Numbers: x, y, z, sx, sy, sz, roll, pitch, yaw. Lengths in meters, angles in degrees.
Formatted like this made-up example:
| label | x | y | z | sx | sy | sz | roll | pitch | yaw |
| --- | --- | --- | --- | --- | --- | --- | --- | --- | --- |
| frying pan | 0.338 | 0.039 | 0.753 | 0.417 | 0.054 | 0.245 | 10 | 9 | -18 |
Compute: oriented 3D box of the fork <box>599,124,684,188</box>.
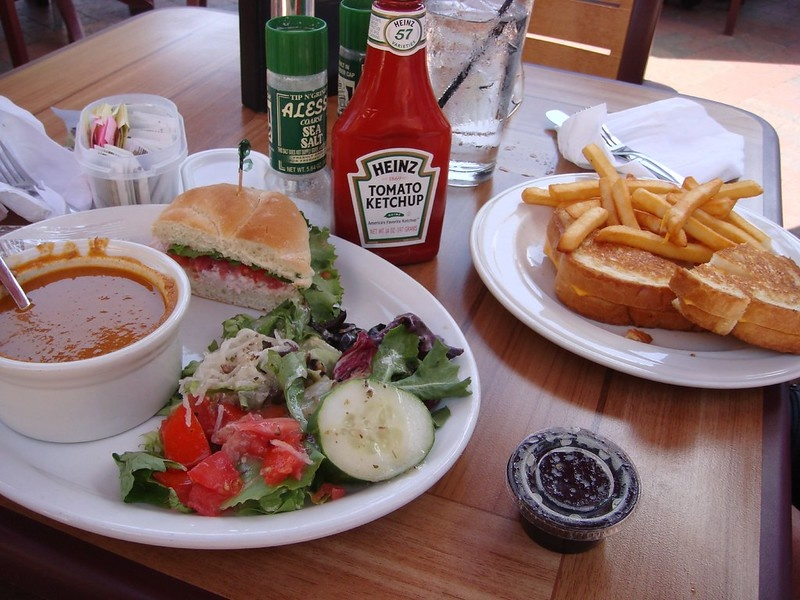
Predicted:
| label | x | y | z | sx | sy | sz | roll | pitch | yaw |
| --- | --- | --- | --- | --- | --- | --- | --- | --- | --- |
| fork | 0.953 | -0.559 | 2.418 | 0.073 | 0.067 | 0.505 | -17 | 50 | -24 |

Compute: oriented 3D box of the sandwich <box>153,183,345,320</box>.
| label | x | y | z | sx | sy | sz | roll | pitch | yaw |
| --- | --- | --- | --- | --- | --- | --- | --- | --- | --- |
| sandwich | -0.479 | -0.180 | 1.989 | 0.542 | 0.266 | 0.323 | 17 | 41 | 5 |

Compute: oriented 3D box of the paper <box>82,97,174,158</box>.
| label | x | y | z | sx | sy | sz | roll | pitch | yaw |
| --- | --- | --- | --- | --- | --- | --- | --- | --- | --- |
| paper | -0.916 | -0.606 | 2.112 | 0.304 | 0.105 | 0.248 | -3 | 53 | -12 |

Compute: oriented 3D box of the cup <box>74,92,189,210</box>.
| label | x | y | z | sx | sy | sz | roll | pitch | yaw |
| --- | --- | --- | --- | --- | --- | --- | --- | --- | --- |
| cup | -0.913 | -0.501 | 2.198 | 0.394 | 0.307 | 0.414 | 3 | 50 | -3 |
